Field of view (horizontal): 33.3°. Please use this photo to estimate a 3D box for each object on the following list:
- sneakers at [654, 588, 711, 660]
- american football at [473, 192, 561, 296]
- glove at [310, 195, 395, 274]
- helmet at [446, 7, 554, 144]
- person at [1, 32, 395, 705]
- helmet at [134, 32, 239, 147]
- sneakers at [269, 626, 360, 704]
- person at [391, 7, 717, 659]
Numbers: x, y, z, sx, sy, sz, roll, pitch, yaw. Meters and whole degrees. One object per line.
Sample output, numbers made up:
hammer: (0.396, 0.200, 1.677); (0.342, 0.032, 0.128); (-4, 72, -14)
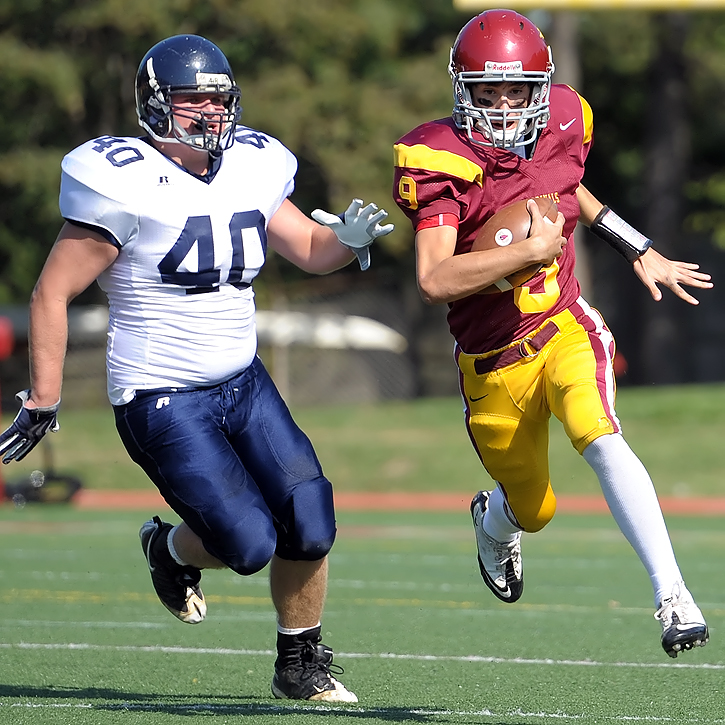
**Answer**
sneakers: (0.842, 0.688, 3.202); (0.086, 0.104, 0.225); (-44, -1, 7)
american football: (0.534, -0.376, 3.710); (0.342, 0.195, 0.230); (-36, 12, -2)
glove: (-0.045, -0.395, 3.848); (0.221, 0.058, 0.173); (25, 6, 27)
helmet: (0.445, -0.895, 3.844); (0.329, 0.426, 0.347); (-1, 15, 4)
person: (-0.493, -0.034, 3.641); (1.199, 1.834, 0.710); (-5, 16, -11)
helmet: (-0.530, -0.827, 3.635); (0.366, 0.250, 0.265); (24, 31, 33)
sneakers: (-0.142, 0.937, 3.721); (0.131, 0.213, 0.361); (14, -12, -41)
person: (0.572, 0.016, 3.850); (0.906, 2.210, 1.486); (-2, 16, 1)
